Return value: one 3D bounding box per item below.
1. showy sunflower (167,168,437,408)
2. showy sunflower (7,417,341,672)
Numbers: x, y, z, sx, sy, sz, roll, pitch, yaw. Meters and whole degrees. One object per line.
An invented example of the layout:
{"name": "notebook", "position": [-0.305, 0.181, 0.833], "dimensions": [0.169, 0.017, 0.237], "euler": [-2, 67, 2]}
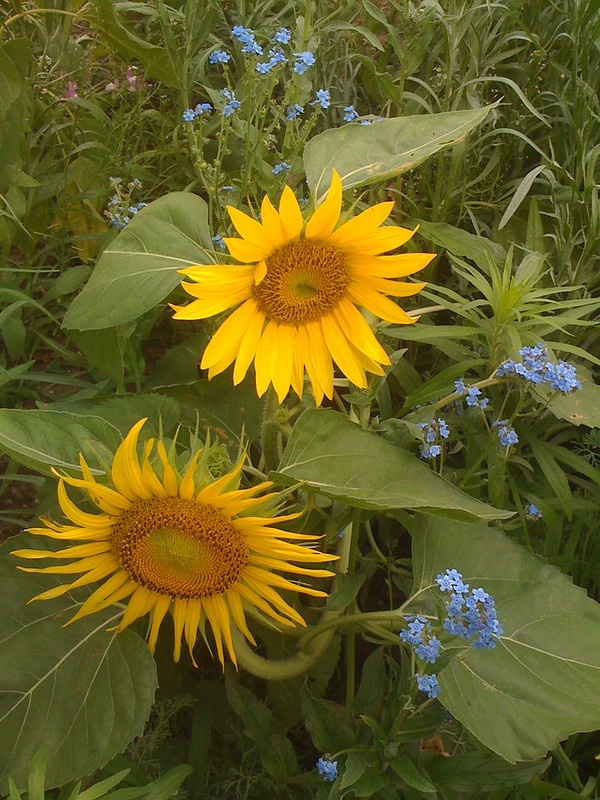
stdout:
{"name": "showy sunflower", "position": [-0.002, -0.180, 1.131], "dimensions": [0.459, 0.388, 0.113], "euler": [-13, 19, -24]}
{"name": "showy sunflower", "position": [-0.217, 0.246, 1.127], "dimensions": [0.630, 0.512, 0.137], "euler": [1, 23, 1]}
